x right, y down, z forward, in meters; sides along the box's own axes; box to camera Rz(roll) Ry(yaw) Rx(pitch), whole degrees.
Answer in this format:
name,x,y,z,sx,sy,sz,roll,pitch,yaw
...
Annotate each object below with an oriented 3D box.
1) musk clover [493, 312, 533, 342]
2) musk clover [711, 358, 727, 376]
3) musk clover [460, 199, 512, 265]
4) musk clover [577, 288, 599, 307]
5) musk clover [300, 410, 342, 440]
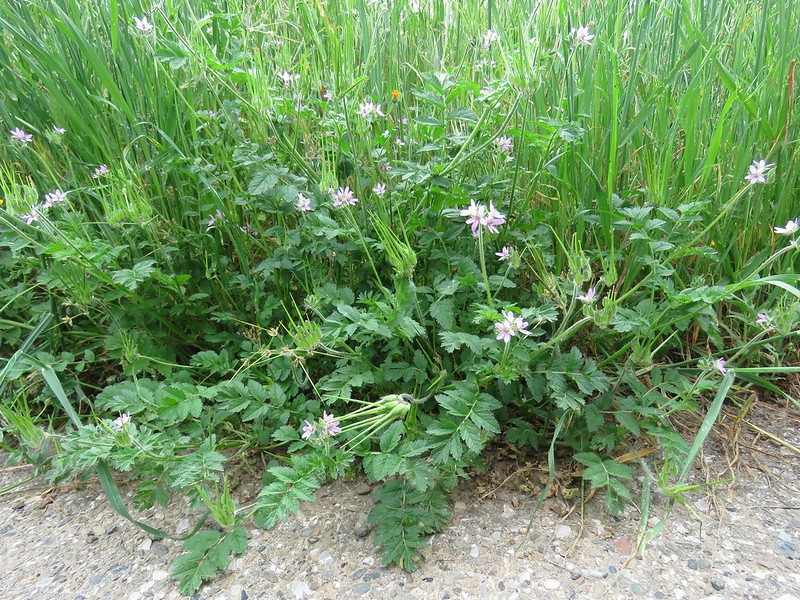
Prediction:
name,x,y,z,sx,sy,sz,roll,pitch,yaw
musk clover,0.448,0.106,2.001,0.131,0.110,0.158,0,47,8
musk clover,1.323,0.284,2.066,0.041,0.087,0.085,-2,25,35
musk clover,0.354,-0.298,2.203,0.238,0.263,0.245,6,91,4
musk clover,0.770,-0.025,2.026,0.040,0.080,0.079,21,52,-22
musk clover,-0.316,0.524,2.076,0.156,0.067,0.157,9,73,22
